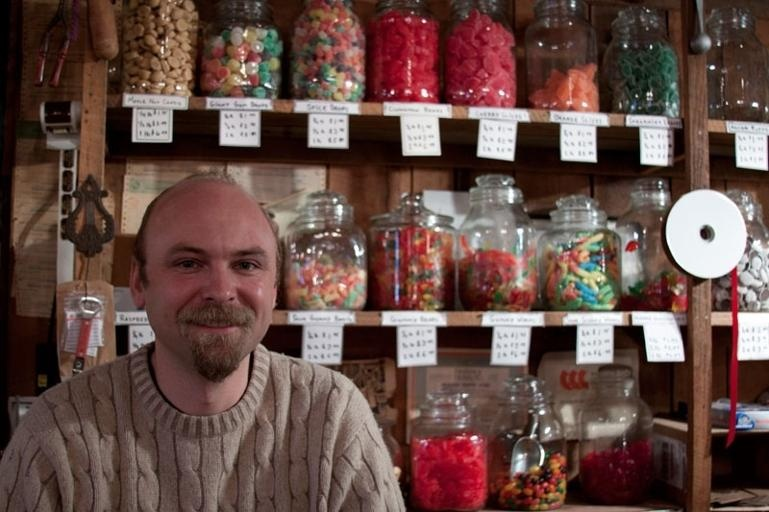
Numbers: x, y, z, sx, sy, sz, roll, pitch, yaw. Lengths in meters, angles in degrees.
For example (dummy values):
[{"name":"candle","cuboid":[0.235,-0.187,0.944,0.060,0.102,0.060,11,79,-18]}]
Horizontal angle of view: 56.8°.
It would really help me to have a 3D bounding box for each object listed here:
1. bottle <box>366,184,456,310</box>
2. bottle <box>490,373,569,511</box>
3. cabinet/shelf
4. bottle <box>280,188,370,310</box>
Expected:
[{"name":"bottle","cuboid":[0.100,-0.011,2.572,0.287,0.412,0.298,1,-4,0]},{"name":"bottle","cuboid":[0.498,0.662,2.485,0.301,0.530,0.294,2,-14,0]},{"name":"cabinet/shelf","cuboid":[0.088,-0.009,2.354,1.651,1.627,0.504,2,-3,-1]},{"name":"bottle","cuboid":[-0.200,-0.008,2.468,0.342,0.485,0.335,-1,-7,0]}]
